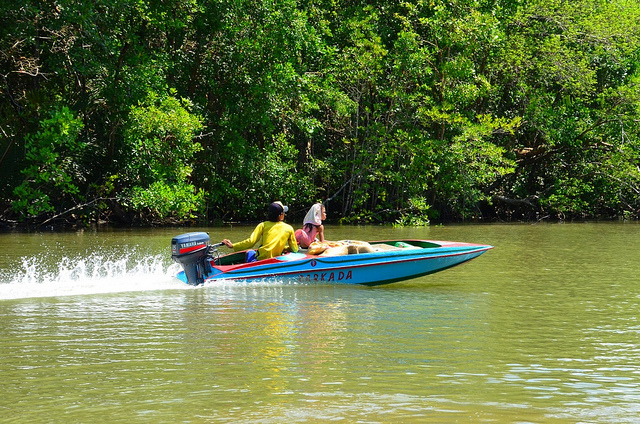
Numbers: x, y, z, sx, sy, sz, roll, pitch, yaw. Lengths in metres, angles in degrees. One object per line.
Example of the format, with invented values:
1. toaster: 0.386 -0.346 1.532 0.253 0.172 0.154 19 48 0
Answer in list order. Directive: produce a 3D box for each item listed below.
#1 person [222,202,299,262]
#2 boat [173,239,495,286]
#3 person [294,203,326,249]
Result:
1. person: -1.086 0.416 13.574 1.487 1.256 0.562 -5 13 -25
2. boat: 0.430 1.129 14.161 6.185 0.776 1.277 -1 10 -7
3. person: -0.242 0.291 14.560 1.150 0.930 0.489 -5 16 -28
